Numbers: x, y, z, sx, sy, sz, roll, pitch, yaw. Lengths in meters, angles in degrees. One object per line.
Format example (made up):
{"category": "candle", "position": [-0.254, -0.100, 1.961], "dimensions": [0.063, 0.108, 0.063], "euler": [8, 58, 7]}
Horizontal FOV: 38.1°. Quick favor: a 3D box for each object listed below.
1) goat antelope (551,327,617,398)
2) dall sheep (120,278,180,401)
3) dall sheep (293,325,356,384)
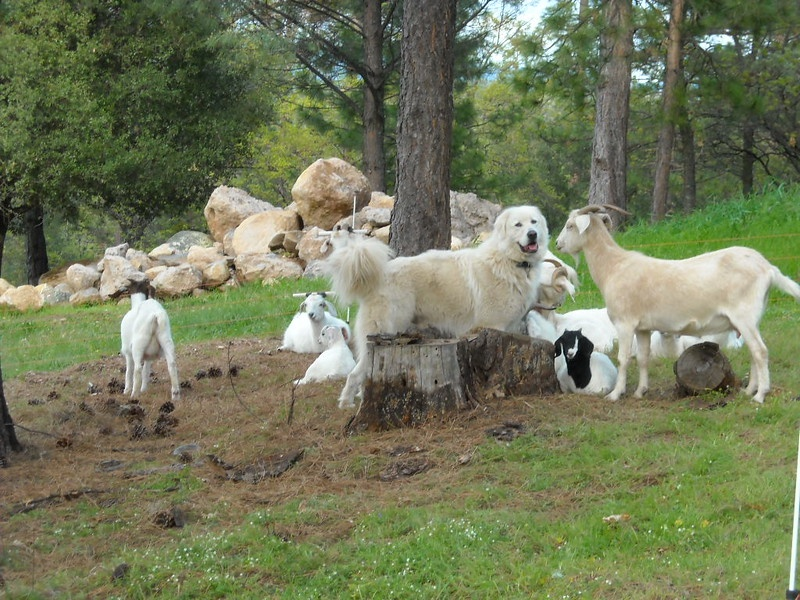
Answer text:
{"category": "goat antelope", "position": [3.065, 1.032, 19.431], "dimensions": [0.874, 1.191, 0.982], "euler": [4, 11, 40]}
{"category": "dall sheep", "position": [-4.231, 0.742, 20.833], "dimensions": [0.668, 2.243, 2.549], "euler": [0, 8, -17]}
{"category": "dall sheep", "position": [-1.661, 0.373, 23.052], "dimensions": [1.402, 1.445, 2.372], "euler": [-2, 5, -3]}
